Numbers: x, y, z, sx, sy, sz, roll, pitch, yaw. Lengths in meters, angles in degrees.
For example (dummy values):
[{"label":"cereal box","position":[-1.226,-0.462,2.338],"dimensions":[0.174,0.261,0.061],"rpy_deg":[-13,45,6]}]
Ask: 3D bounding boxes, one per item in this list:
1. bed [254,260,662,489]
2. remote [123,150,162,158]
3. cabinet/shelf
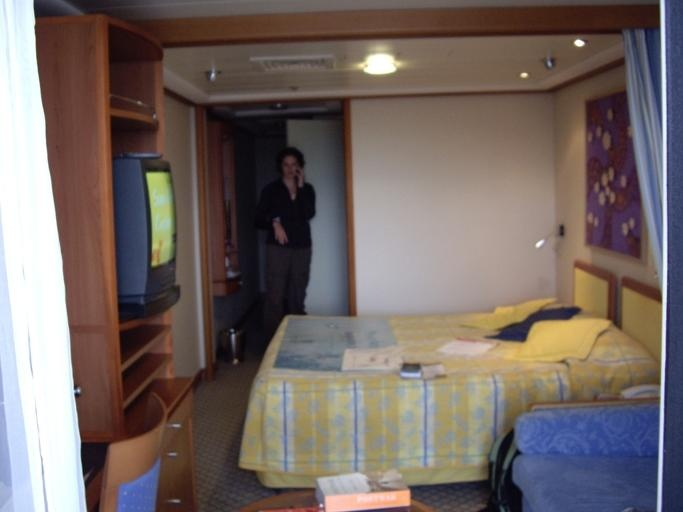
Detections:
[{"label":"bed","position":[0.542,0.744,3.562],"dimensions":[1.926,0.823,1.306],"rpy_deg":[0,8,1]},{"label":"remote","position":[-1.003,-0.515,2.811],"dimensions":[0.088,0.022,0.091],"rpy_deg":[2,6,16]},{"label":"cabinet/shelf","position":[-1.050,0.106,2.710],"dimensions":[0.627,2.390,0.789],"rpy_deg":[0,8,-2]}]
